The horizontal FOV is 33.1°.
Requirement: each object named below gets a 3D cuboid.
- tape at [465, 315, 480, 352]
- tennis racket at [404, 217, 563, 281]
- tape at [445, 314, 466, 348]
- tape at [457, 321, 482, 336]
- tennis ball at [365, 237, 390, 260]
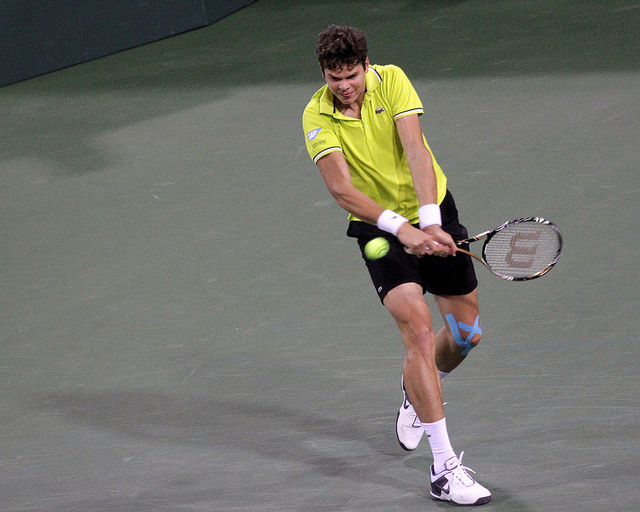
[{"bbox_3d":[0.840,0.432,5.959,0.048,0.151,0.125,22,-14,6],"label":"tape"},{"bbox_3d":[0.855,-0.045,6.150,0.109,0.346,1.335,12,-6,-33],"label":"tennis racket"},{"bbox_3d":[0.745,0.412,5.953,0.067,0.206,0.014,-28,-10,32],"label":"tape"},{"bbox_3d":[0.827,0.403,5.952,0.099,0.024,0.070,20,5,18],"label":"tape"},{"bbox_3d":[0.310,-0.041,5.779,0.138,0.088,0.121,-10,28,10],"label":"tennis ball"}]
